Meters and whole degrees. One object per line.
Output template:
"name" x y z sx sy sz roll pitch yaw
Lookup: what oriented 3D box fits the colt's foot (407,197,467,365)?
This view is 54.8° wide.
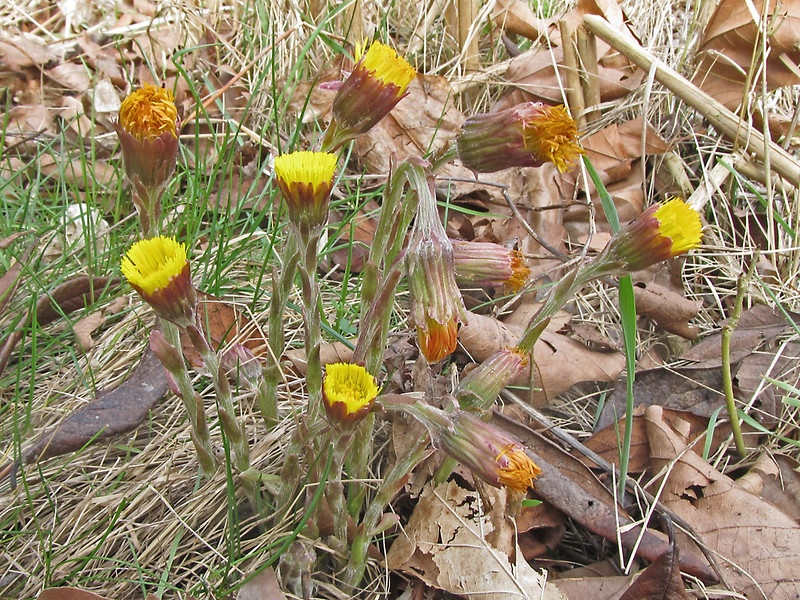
"colt's foot" 0.069 -0.060 1.719 0.112 0.111 0.407 -6 88 -39

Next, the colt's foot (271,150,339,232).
"colt's foot" -0.213 -0.213 1.777 0.158 0.154 0.250 -2 101 3

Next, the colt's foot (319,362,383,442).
"colt's foot" -0.116 0.238 1.694 0.121 0.157 0.141 6 26 -19

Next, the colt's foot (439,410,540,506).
"colt's foot" 0.194 0.336 1.773 0.281 0.115 0.129 31 73 11

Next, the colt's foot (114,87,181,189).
"colt's foot" -0.577 -0.376 1.783 0.123 0.146 0.218 8 77 0

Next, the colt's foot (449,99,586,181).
"colt's foot" 0.271 -0.360 1.788 0.151 0.274 0.151 -38 126 -51

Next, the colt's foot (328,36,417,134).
"colt's foot" -0.068 -0.489 1.815 0.142 0.121 0.204 30 78 5

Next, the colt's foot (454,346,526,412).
"colt's foot" 0.220 0.190 1.928 0.197 0.072 0.106 -38 102 -4
